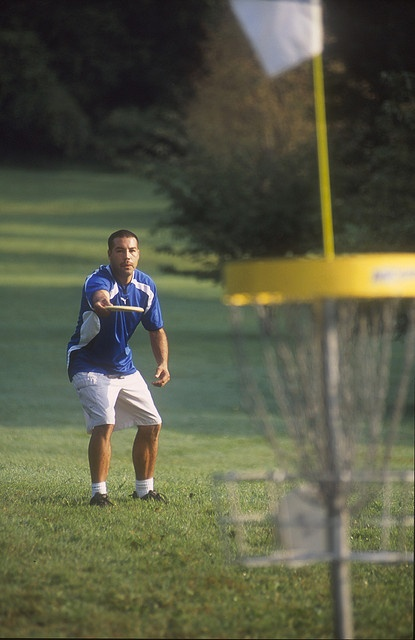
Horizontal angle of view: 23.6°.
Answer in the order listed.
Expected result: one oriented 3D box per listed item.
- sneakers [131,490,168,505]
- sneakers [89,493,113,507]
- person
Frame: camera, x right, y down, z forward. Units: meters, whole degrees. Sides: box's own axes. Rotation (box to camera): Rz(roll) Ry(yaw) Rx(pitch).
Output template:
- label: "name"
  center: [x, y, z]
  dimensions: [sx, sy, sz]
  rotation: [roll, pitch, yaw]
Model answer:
- label: "sneakers"
  center: [-0.275, 0.858, 4.789]
  dimensions: [0.174, 0.062, 0.060]
  rotation: [3, -10, 3]
- label: "sneakers"
  center: [-0.505, 0.861, 4.721]
  dimensions: [0.131, 0.048, 0.046]
  rotation: [-1, -9, 15]
- label: "person"
  center: [-0.379, 0.221, 4.797]
  dimensions: [0.499, 1.300, 0.580]
  rotation: [-4, 8, -20]
